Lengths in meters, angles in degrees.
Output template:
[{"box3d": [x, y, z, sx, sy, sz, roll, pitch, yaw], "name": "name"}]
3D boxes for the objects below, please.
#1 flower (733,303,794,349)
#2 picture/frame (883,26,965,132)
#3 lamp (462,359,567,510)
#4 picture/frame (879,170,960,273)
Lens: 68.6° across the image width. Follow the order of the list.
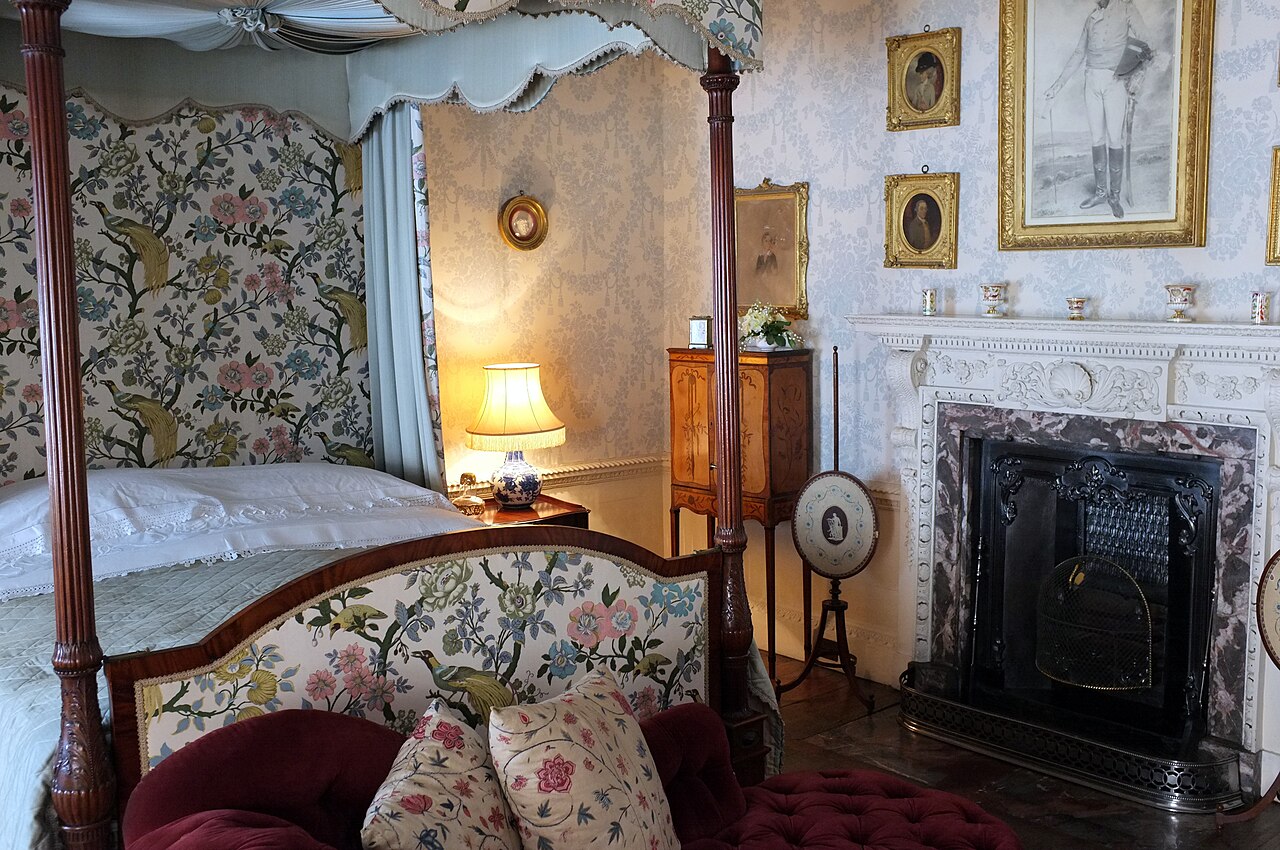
[{"box3d": [0.711, -0.514, 5.189, 0.251, 0.209, 0.258, 1, 1, 41], "name": "flower"}, {"box3d": [1.440, -1.742, 4.693, 0.064, 0.627, 0.495, -5, 7, -39], "name": "picture/frame"}, {"box3d": [-0.614, 0.068, 5.341, 0.635, 0.998, 0.674, -2, 0, -12], "name": "lamp"}, {"box3d": [1.440, -1.038, 4.768, 0.058, 0.583, 0.469, -5, 7, -42], "name": "picture/frame"}]
